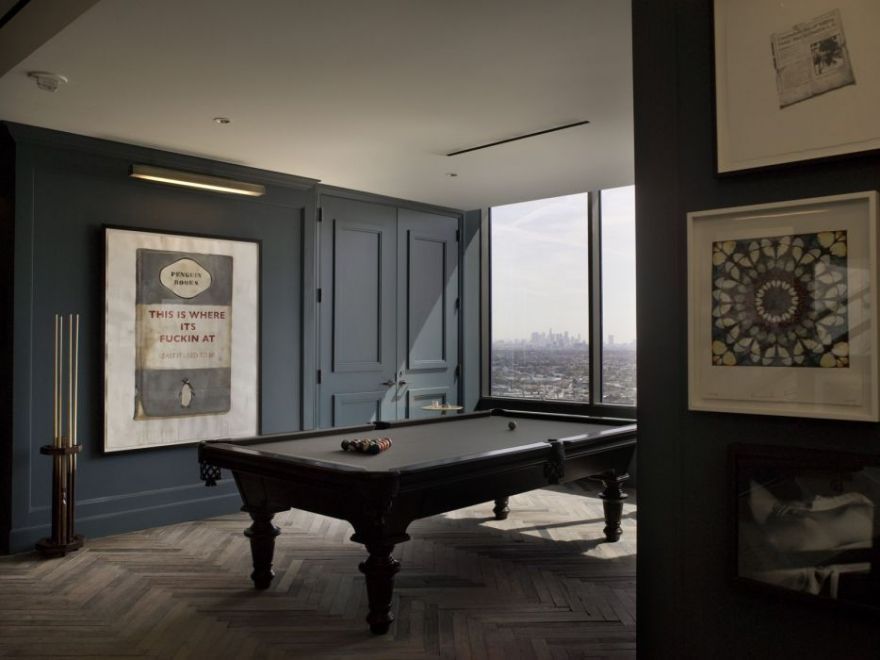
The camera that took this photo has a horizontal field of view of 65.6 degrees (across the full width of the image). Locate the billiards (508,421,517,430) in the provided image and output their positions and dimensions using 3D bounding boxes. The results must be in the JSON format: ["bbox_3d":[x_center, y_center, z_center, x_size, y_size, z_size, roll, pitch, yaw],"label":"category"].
[{"bbox_3d":[0.485,0.640,4.587,0.040,0.035,0.044,0,11,3],"label":"billiards"}]

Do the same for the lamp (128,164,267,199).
[{"bbox_3d":[-1.826,-1.140,5.242,1.042,0.131,0.206,-2,2,-42],"label":"lamp"}]
